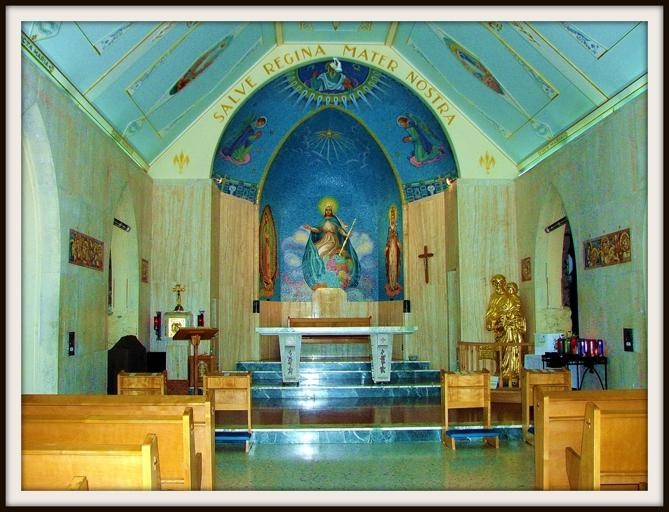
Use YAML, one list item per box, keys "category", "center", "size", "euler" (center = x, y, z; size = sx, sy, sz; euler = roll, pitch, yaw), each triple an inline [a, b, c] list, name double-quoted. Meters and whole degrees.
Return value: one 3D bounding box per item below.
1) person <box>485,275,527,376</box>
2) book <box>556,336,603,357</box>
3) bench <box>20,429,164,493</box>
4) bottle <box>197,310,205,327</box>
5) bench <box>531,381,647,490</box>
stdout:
- category: "person"
  center: [2.857, 1.192, 10.119]
  size: [0.634, 1.736, 1.252]
  euler: [-2, -9, 16]
- category: "book"
  center: [3.445, 1.305, 8.642]
  size: [0.447, 0.283, 0.804]
  euler: [3, -11, -16]
- category: "bench"
  center: [-1.483, 1.259, 3.676]
  size: [0.885, 0.347, 0.291]
  euler: [-4, -10, 20]
- category: "bottle"
  center: [-2.397, 1.132, 10.860]
  size: [0.131, 0.301, 0.381]
  euler: [2, -10, -14]
- category: "bench"
  center: [2.000, 1.414, 4.630]
  size: [0.444, 0.596, 0.647]
  euler: [0, -24, 3]
